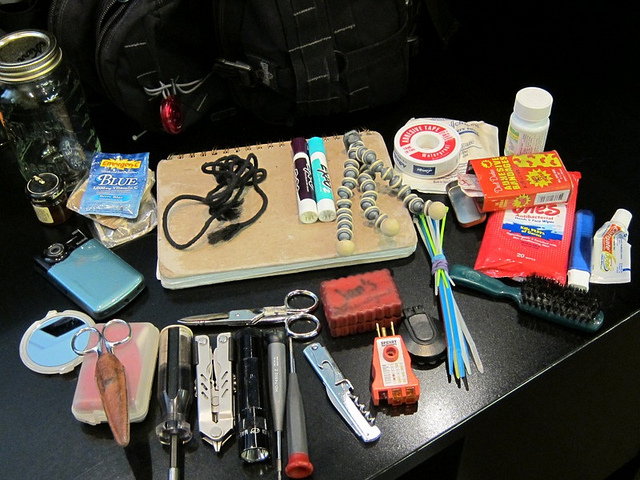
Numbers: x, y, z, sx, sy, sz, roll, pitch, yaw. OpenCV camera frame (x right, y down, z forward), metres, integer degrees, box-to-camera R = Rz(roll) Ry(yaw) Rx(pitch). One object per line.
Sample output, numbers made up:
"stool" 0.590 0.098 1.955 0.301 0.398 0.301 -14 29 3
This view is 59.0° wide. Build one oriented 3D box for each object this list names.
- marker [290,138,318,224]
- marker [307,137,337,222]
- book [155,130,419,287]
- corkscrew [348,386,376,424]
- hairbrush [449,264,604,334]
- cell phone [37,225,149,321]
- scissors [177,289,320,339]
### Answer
"marker" -0.027 -0.105 0.980 0.031 0.039 0.169 -8 52 1
"marker" 0.003 -0.105 0.962 0.030 0.029 0.173 -10 49 3
"book" -0.062 -0.038 0.949 0.350 0.089 0.277 -9 69 1
"corkscrew" 0.056 0.228 0.779 0.014 0.022 0.055 -34 56 -20
"hairbrush" 0.313 0.080 0.871 0.231 0.048 0.052 17 55 19
"cell phone" -0.367 0.051 0.901 0.171 0.045 0.098 30 47 21
"scissors" -0.102 0.125 0.858 0.173 0.020 0.090 -4 36 -4
